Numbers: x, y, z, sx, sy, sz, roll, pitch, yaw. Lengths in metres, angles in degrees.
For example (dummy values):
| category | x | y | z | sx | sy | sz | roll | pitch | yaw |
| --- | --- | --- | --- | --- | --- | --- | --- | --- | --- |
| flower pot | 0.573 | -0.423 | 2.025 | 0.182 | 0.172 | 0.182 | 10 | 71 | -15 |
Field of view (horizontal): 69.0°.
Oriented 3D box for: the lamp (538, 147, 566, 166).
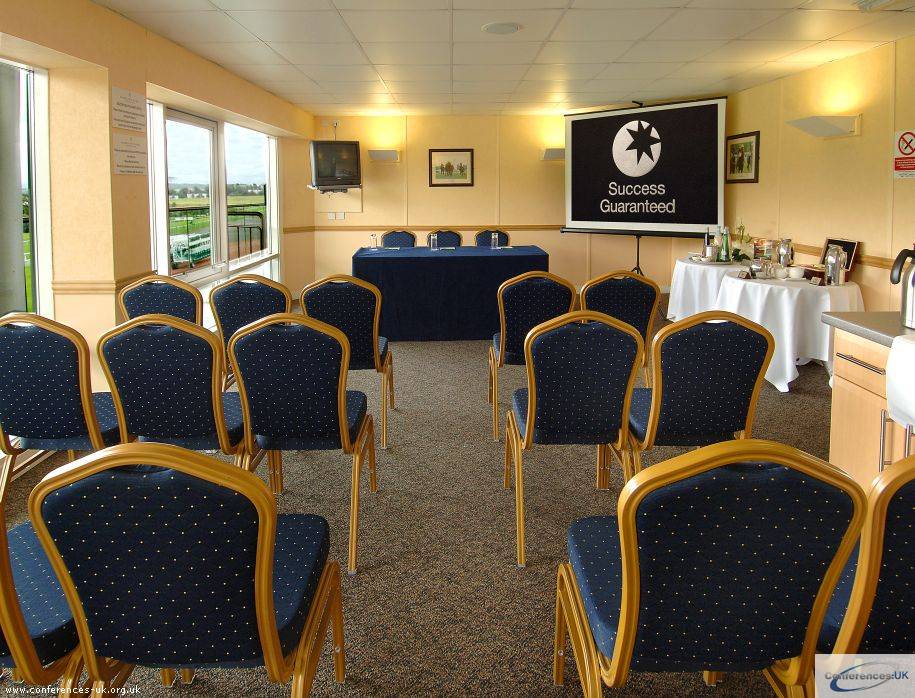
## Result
| category | x | y | z | sx | sy | sz | roll | pitch | yaw |
| --- | --- | --- | --- | --- | --- | --- | --- | --- | --- |
| lamp | 1.553 | -3.082 | 10.705 | 0.341 | 0.222 | 0.623 | 1 | 12 | 6 |

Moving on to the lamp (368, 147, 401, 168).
| category | x | y | z | sx | sy | sz | roll | pitch | yaw |
| --- | --- | --- | --- | --- | --- | --- | --- | --- | --- |
| lamp | -1.166 | -3.045 | 10.685 | 0.529 | 0.222 | 0.577 | -2 | 12 | -7 |

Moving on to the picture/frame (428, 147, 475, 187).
| category | x | y | z | sx | sy | sz | roll | pitch | yaw |
| --- | --- | --- | --- | --- | --- | --- | --- | --- | --- |
| picture/frame | -0.116 | -2.991 | 10.953 | 0.539 | 0.486 | 0.021 | -1 | 8 | -6 |

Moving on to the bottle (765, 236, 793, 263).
| category | x | y | z | sx | sy | sz | roll | pitch | yaw |
| --- | --- | --- | --- | --- | --- | --- | --- | --- | --- |
| bottle | 3.073 | -0.921 | 6.383 | 0.232 | 0.223 | 0.508 | 5 | 13 | 23 |

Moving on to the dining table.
| category | x | y | z | sx | sy | sz | roll | pitch | yaw |
| --- | --- | --- | --- | --- | --- | --- | --- | --- | --- |
| dining table | 2.503 | -0.653 | 6.999 | 0.808 | 0.594 | 0.840 | 7 | 13 | 38 |

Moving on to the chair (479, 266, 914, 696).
| category | x | y | z | sx | sy | sz | roll | pitch | yaw |
| --- | --- | --- | --- | --- | --- | --- | --- | --- | --- |
| chair | 0.807 | 0.341 | 2.438 | 0.849 | 1.087 | 1.610 | -1 | 14 | -1 |
